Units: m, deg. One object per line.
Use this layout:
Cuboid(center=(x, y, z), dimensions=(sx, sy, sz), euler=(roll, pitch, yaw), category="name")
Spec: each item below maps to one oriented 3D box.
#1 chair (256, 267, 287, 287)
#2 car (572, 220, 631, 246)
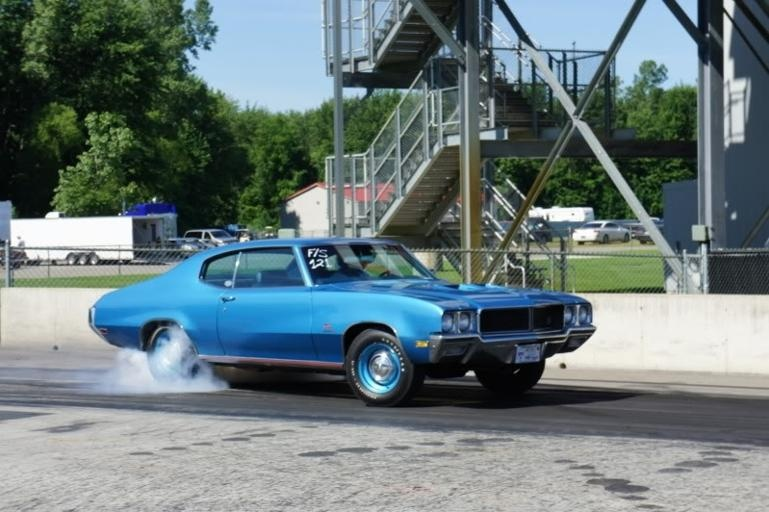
Cuboid(center=(-1.959, 0.388, 22.836), dimensions=(0.428, 0.298, 0.151), euler=(0, -19, -1), category="chair")
Cuboid(center=(12.929, -1.353, 78.160), dimensions=(3.885, 1.116, 1.641), euler=(-5, 5, -44), category="car")
